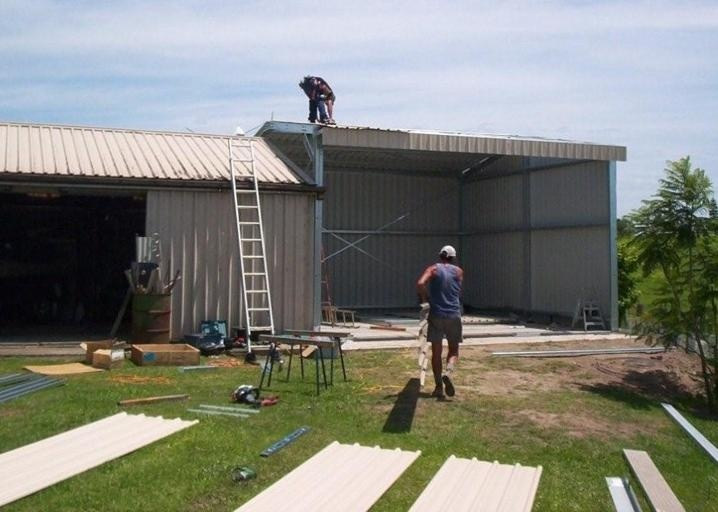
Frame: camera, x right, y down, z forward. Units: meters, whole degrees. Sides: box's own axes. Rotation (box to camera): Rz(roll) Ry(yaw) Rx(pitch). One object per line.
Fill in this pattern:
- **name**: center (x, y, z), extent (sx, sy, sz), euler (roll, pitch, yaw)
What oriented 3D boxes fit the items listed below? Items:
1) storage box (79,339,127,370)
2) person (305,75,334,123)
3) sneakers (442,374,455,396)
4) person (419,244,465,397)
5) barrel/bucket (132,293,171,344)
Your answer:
- **storage box**: center (-4.647, 1.782, 11.701), extent (0.779, 0.344, 0.497), euler (-1, -1, 37)
- **person**: center (-1.200, -4.660, 19.048), extent (0.843, 1.296, 1.712), euler (-1, 11, -15)
- **sneakers**: center (1.381, 2.020, 10.077), extent (0.145, 0.358, 0.140), euler (-12, 5, 33)
- **person**: center (1.313, 1.076, 10.409), extent (0.706, 2.355, 1.079), euler (4, 10, 9)
- **barrel/bucket**: center (-4.207, 1.259, 12.963), extent (0.890, 1.068, 0.822), euler (2, -1, 0)
